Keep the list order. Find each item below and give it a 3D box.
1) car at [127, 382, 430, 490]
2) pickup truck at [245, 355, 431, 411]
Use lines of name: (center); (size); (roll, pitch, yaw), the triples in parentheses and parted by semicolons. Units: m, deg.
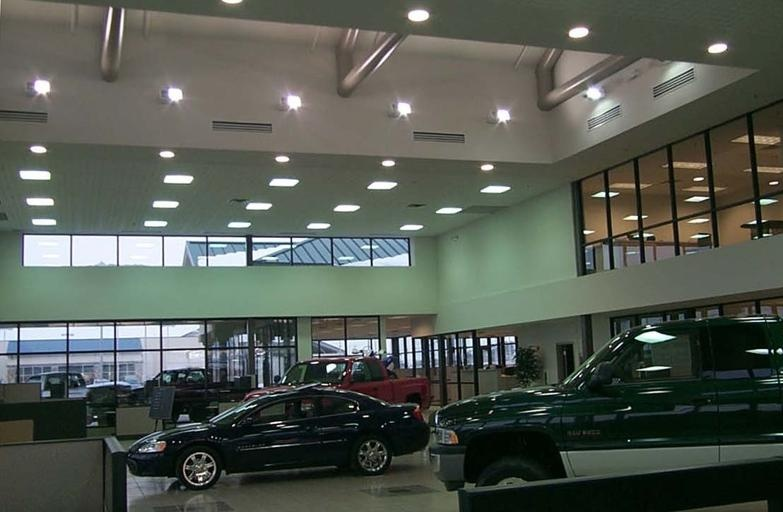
car: (-2.168, 3.661, 13.969); (6.016, 1.553, 2.207); (3, -11, -10)
pickup truck: (-0.880, 3.687, 20.202); (4.111, 1.454, 2.239); (5, -11, -26)
